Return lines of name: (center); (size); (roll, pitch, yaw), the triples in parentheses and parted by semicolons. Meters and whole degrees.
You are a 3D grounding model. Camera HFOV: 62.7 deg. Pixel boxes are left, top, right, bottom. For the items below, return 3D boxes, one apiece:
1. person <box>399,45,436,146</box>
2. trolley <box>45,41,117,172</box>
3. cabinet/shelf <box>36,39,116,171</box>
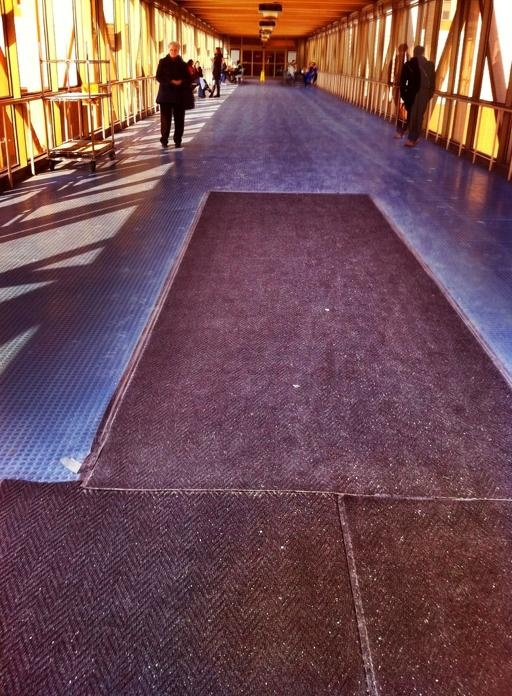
person: (4.197, -6.565, 10.854); (0.807, 2.348, 0.945); (5, 10, 33)
trolley: (-3.926, -5.271, 9.145); (1.257, 2.331, 1.388); (-14, 37, -32)
cabinet/shelf: (-4.167, -5.346, 9.941); (1.145, 1.697, 1.901); (-7, -10, -21)
